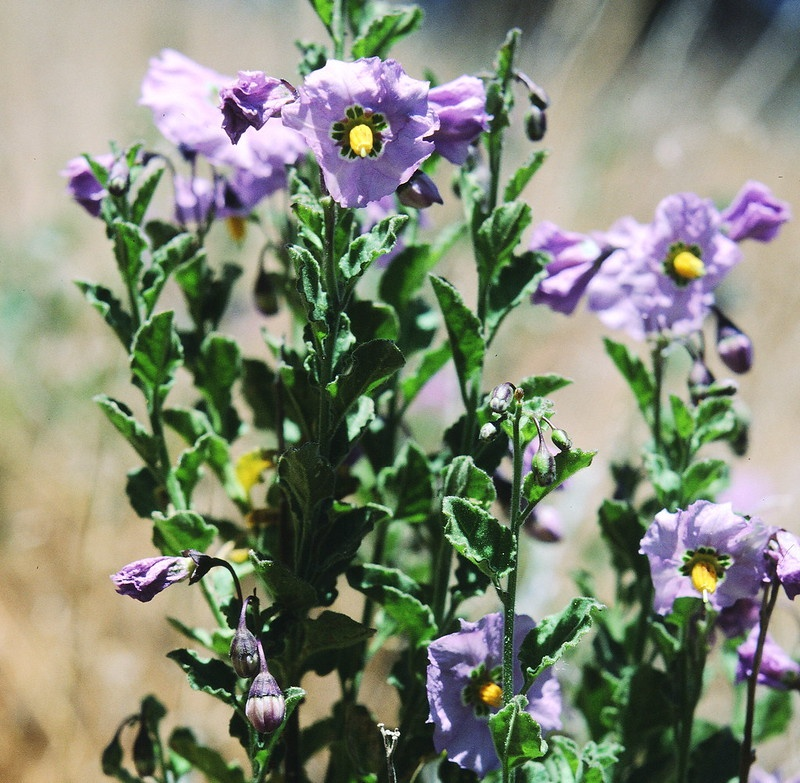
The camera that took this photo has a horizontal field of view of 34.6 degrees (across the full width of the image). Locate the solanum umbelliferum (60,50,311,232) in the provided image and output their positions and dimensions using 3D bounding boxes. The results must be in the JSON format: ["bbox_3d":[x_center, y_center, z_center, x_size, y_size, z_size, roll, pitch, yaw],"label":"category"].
[{"bbox_3d":[-0.165,-0.202,1.152,0.155,0.149,0.124,18,21,-8],"label":"solanum umbelliferum"}]
